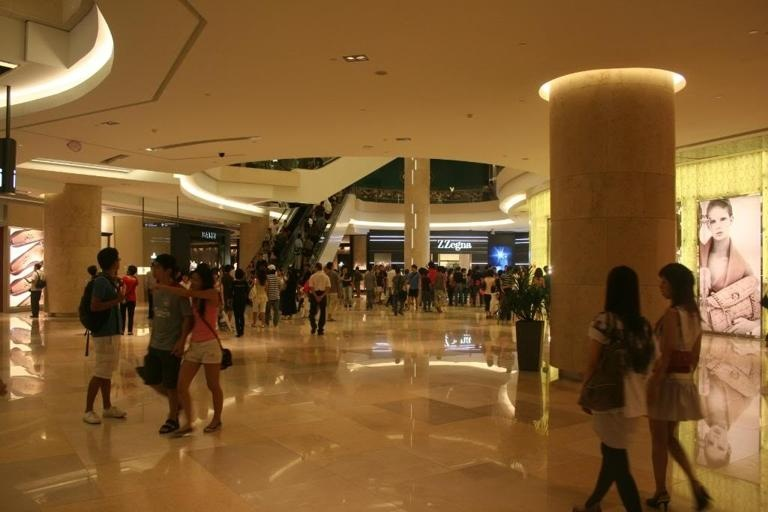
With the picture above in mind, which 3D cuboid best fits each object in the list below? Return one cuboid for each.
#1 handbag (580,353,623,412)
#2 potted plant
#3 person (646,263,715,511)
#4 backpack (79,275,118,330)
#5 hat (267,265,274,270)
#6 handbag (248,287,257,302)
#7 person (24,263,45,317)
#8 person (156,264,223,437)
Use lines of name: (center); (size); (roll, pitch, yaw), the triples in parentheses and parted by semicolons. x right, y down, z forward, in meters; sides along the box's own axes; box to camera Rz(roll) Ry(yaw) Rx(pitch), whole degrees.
handbag: (1.999, 1.167, 4.762); (0.241, 0.411, 0.346); (24, 3, 39)
potted plant: (2.654, 1.112, 9.914); (0.999, 1.704, 1.092); (1, 2, -45)
person: (2.748, 1.213, 5.050); (0.522, 2.301, 0.883); (0, -3, 30)
backpack: (-3.607, 0.599, 6.863); (0.468, 0.775, 0.366); (2, -2, -24)
hat: (-3.406, 0.336, 16.381); (0.205, 0.091, 0.246); (2, -1, -37)
handbag: (-3.659, 1.040, 15.086); (0.149, 0.449, 0.411); (2, -2, -27)
person: (-11.554, 1.112, 18.069); (0.413, 1.817, 0.906); (3, -3, -33)
person: (-2.284, 1.113, 6.581); (0.676, 2.042, 0.689); (1, -2, -1)
